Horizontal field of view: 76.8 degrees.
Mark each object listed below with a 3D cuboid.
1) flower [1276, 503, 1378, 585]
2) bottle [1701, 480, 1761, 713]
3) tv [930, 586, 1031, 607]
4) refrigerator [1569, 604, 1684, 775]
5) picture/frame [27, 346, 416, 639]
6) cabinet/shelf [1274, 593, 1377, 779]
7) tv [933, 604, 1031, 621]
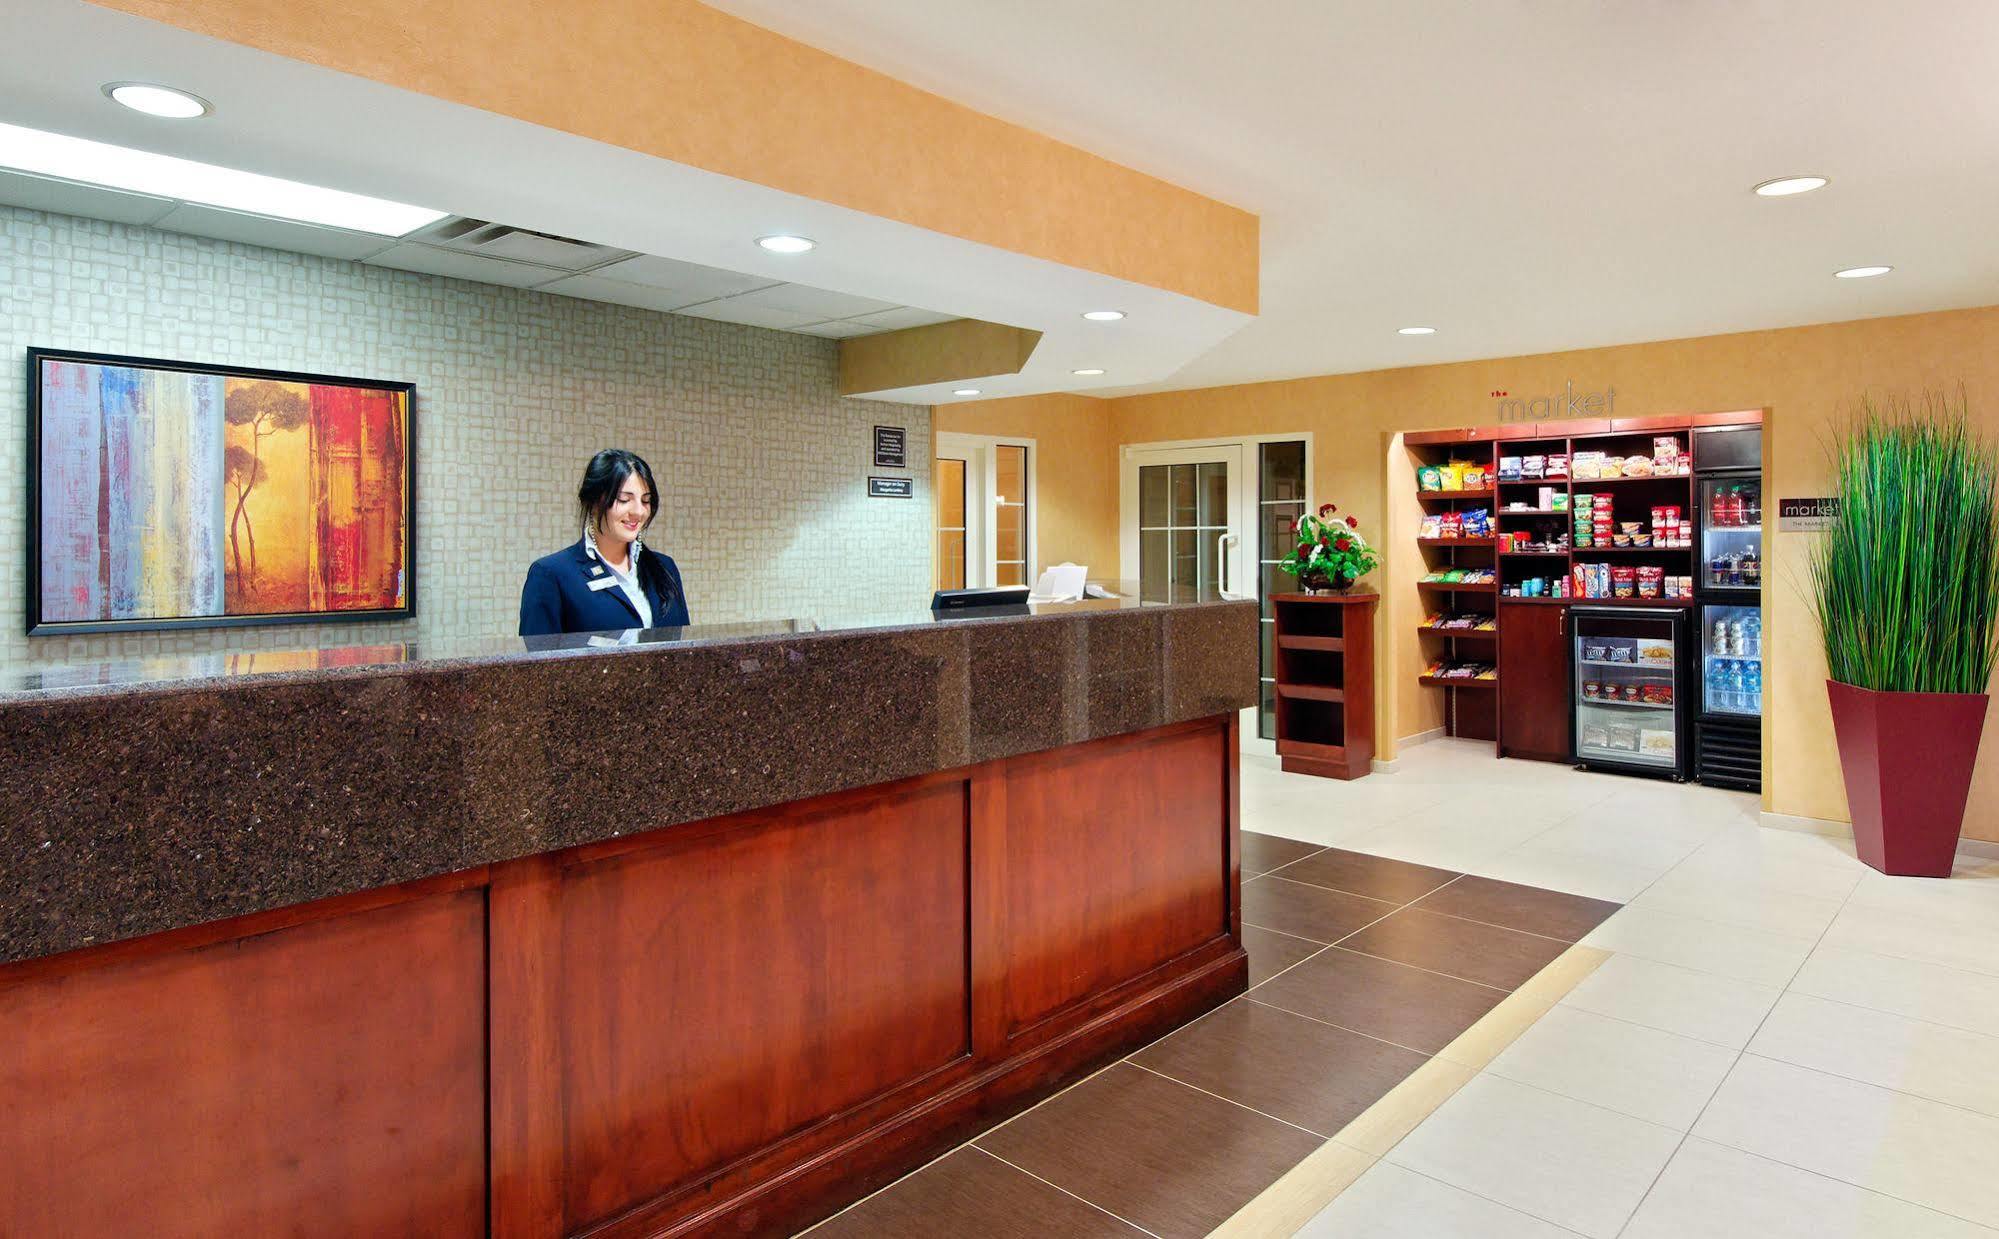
[{"bbox_3d":[2.275,-0.443,8.574,0.620,0.475,0.594,1,14,-37],"label":"flower"},{"bbox_3d":[4.714,-0.162,8.145,0.313,1.509,0.397,1,6,9],"label":"bottle"},{"bbox_3d":[-0.064,-0.088,4.873,0.395,0.056,0.273,0,6,-9],"label":"tv"},{"bbox_3d":[4.278,0.470,8.598,0.778,1.141,0.459,4,7,31],"label":"refrigerator"},{"bbox_3d":[-3.272,-0.529,5.215,1.410,0.951,0.055,-1,5,-39],"label":"picture/frame"},{"bbox_3d":[2.181,0.435,8.515,0.679,1.245,0.439,2,6,14],"label":"cabinet/shelf"},{"bbox_3d":[-0.069,-0.018,4.410,0.335,0.005,0.480,1,6,3],"label":"tv"}]
